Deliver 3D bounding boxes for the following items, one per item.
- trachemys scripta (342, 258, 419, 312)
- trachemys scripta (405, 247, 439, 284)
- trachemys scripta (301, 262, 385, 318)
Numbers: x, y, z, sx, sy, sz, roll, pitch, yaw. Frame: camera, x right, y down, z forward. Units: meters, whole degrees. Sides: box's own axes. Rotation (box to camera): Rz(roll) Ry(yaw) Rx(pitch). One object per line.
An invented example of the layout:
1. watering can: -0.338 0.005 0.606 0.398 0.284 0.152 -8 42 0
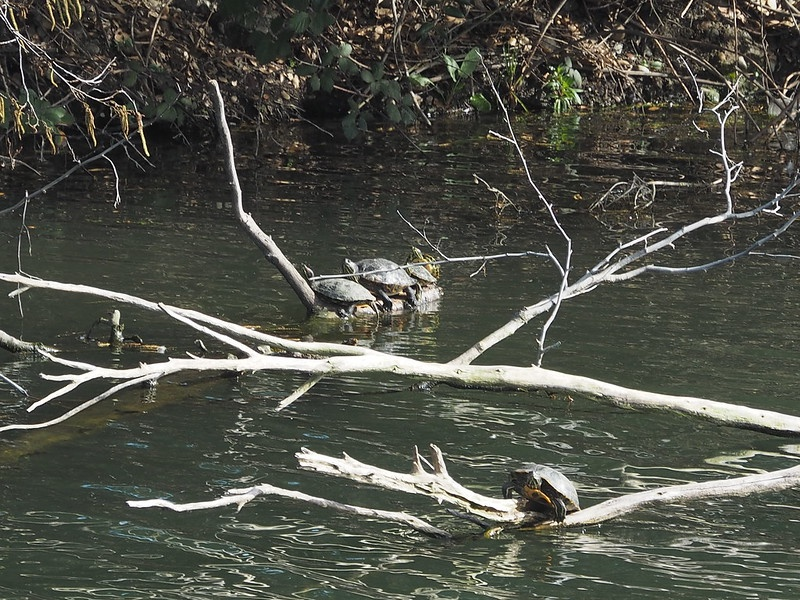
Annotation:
1. trachemys scripta: -0.274 -0.302 23.946 1.162 0.440 0.921 4 14 -44
2. trachemys scripta: 0.423 -0.529 24.200 0.537 0.185 0.390 35 20 -24
3. trachemys scripta: -0.706 -0.132 23.500 0.987 0.275 0.652 22 24 -10
